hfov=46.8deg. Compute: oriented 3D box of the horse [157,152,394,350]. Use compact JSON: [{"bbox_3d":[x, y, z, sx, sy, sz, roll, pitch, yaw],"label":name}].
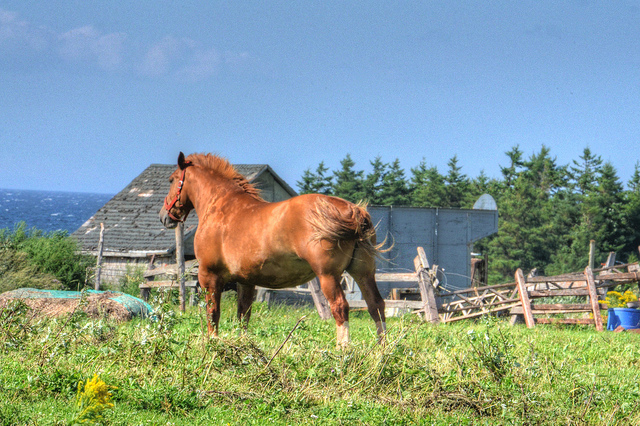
[{"bbox_3d":[-1.055,0.724,15.265,5.857,4.197,1.738,-3,-3,37],"label":"horse"}]
